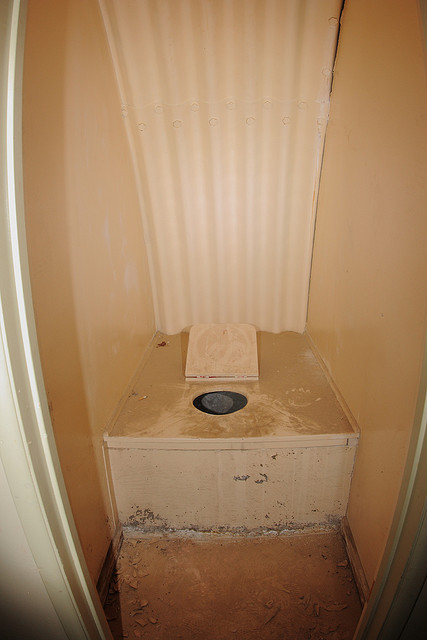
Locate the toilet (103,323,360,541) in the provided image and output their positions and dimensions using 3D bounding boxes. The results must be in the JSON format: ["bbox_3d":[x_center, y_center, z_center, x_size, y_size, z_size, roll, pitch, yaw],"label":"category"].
[{"bbox_3d":[0.079,0.545,2.111,0.776,0.612,0.858,-1,26,3],"label":"toilet"}]
